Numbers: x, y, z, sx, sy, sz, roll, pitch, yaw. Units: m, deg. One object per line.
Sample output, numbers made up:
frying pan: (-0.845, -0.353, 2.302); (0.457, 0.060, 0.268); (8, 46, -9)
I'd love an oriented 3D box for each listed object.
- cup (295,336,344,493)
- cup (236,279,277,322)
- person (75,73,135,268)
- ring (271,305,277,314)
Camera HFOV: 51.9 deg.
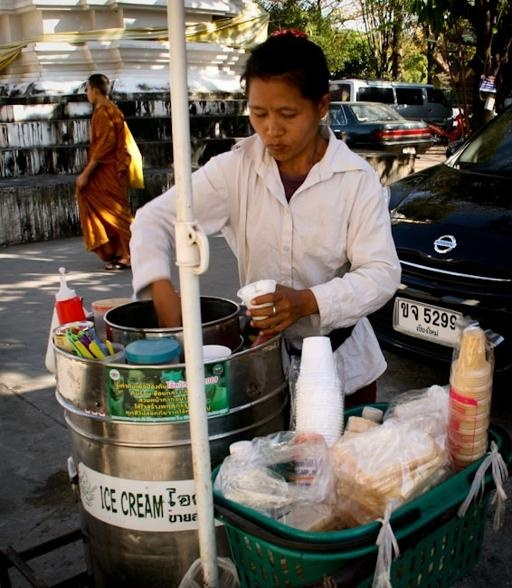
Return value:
cup: (0.129, 0.253, 1.083); (0.116, 0.095, 0.299); (5, 50, 5)
cup: (0.012, 0.015, 1.267); (0.080, 0.047, 0.076); (-28, 9, 5)
person: (-1.770, -1.448, 6.205); (0.564, 2.301, 0.665); (-1, 11, 10)
ring: (0.042, 0.037, 1.233); (0.013, 0.015, 0.017); (-6, 9, -7)
